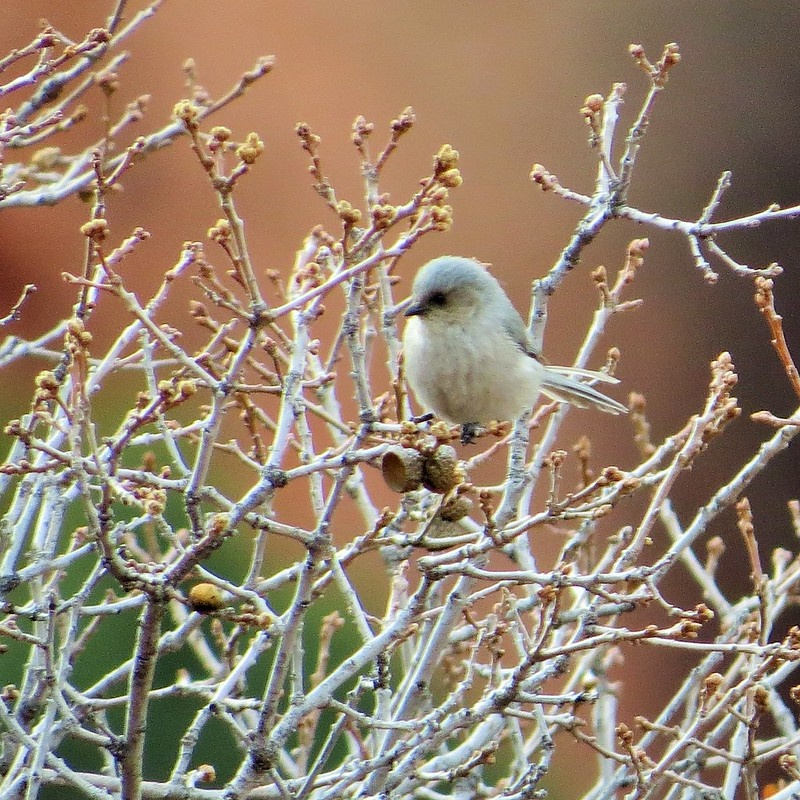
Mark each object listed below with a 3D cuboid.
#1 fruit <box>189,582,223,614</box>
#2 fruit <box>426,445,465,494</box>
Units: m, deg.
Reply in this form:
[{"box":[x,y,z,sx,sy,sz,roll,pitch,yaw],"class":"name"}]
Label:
[{"box":[-0.672,0.692,5.238,0.060,0.098,0.117,-6,-59,53],"class":"fruit"},{"box":[0.147,0.254,5.373,0.114,0.055,0.177,1,-87,12],"class":"fruit"}]
